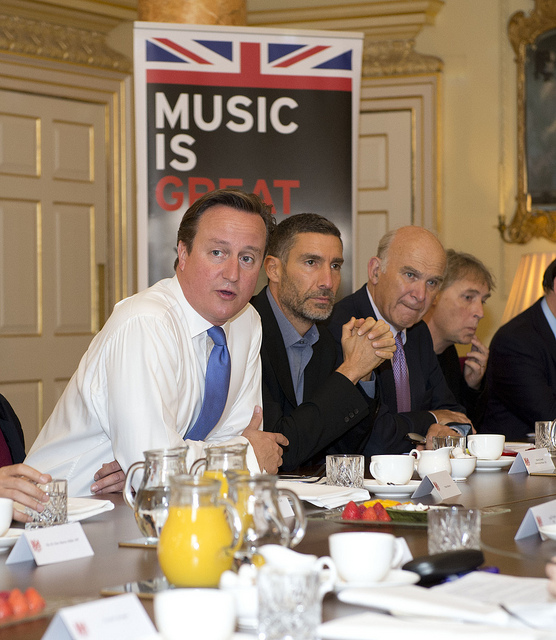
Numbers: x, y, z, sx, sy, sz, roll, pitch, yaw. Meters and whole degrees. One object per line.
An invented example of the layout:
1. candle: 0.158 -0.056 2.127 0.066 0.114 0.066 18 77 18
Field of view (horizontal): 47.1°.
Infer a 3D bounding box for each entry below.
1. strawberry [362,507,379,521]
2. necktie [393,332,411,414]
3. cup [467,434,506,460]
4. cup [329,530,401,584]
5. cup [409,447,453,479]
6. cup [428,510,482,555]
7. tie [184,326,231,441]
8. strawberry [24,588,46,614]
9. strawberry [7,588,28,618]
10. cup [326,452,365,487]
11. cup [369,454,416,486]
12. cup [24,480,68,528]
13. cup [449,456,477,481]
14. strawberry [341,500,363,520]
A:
1. strawberry: 0.174 0.356 1.169 0.018 0.026 0.015 -1 14 -13
2. necktie: 0.570 0.238 2.929 0.079 0.348 0.237 0 2 11
3. cup: 0.646 0.389 1.973 0.090 0.067 0.080 -3 -5 0
4. cup: 0.101 0.261 0.718 0.065 0.048 0.056 1 -11 2
5. cup: 0.412 0.383 1.735 0.126 0.099 0.078 -7 -7 18
6. cup: 0.253 0.304 0.919 0.069 0.074 0.072 1 -4 0
7. tie: -0.181 0.192 1.854 0.066 0.285 0.197 9 3 -25
8. strawberry: -0.254 0.293 0.668 0.011 0.020 0.017 -15 -21 -38
9. strawberry: -0.264 0.290 0.654 0.012 0.023 0.017 -24 8 -20
10. cup: 0.175 0.379 1.625 0.077 0.079 0.072 1 -3 0
11. cup: 0.288 0.362 1.581 0.085 0.063 0.073 -3 -2 -12
12. cup: -0.406 0.315 1.133 0.072 0.088 0.074 1 1 0
13. cup: 0.508 0.406 1.752 0.076 0.059 0.080 -2 -6 0
14. strawberry: 0.138 0.356 1.180 0.032 0.048 0.034 -4 5 -17
